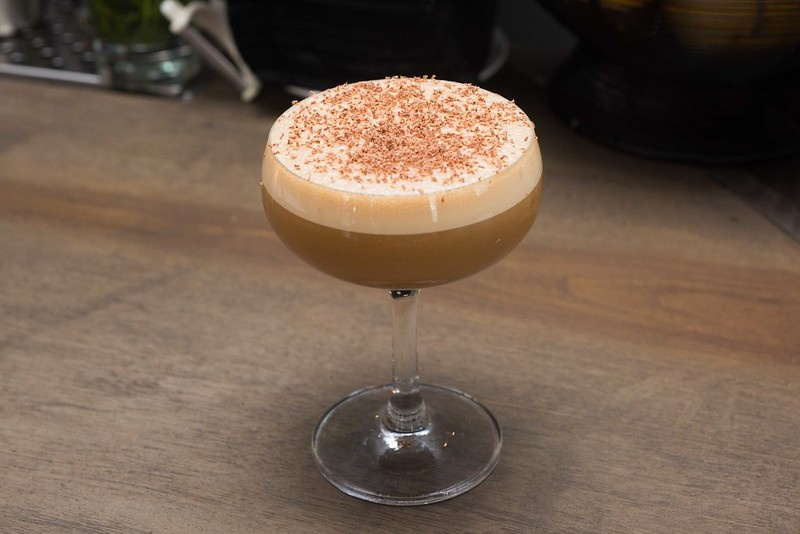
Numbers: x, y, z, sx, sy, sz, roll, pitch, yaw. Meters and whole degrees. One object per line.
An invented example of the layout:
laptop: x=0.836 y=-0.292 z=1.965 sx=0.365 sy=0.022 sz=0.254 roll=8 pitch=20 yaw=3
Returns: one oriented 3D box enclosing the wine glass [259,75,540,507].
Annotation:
wine glass: x=0.007 y=0.071 z=1.270 sx=0.506 sy=0.500 sz=0.390 roll=-1 pitch=21 yaw=1
